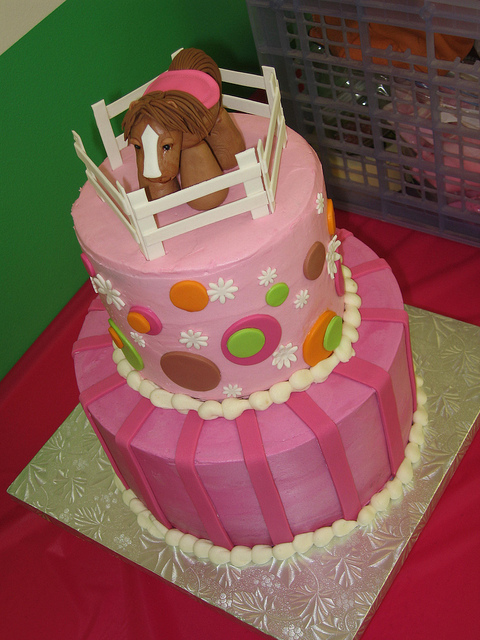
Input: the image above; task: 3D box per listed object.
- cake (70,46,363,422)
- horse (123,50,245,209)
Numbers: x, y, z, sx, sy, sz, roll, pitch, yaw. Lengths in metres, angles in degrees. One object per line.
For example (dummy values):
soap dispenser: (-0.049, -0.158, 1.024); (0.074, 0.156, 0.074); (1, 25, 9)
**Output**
cake: (-0.061, -0.167, 1.190); (0.543, 0.540, 0.529); (5, 44, 21)
horse: (-0.109, -0.328, 1.052); (0.201, 0.210, 0.284); (6, 52, 7)
